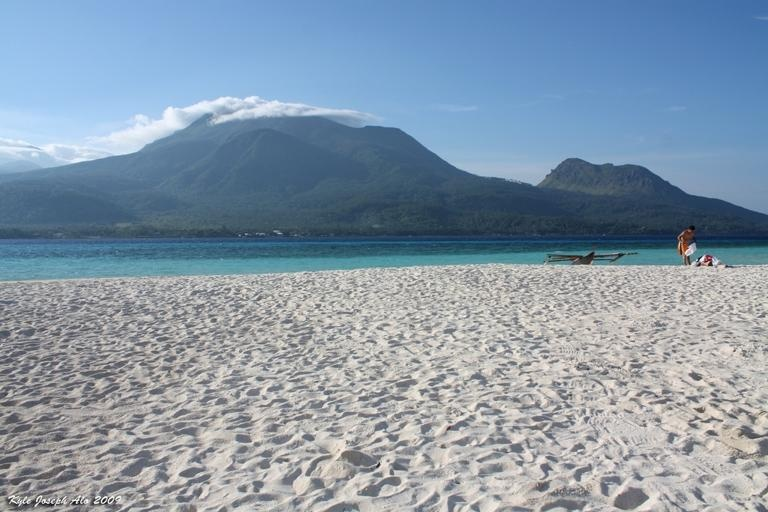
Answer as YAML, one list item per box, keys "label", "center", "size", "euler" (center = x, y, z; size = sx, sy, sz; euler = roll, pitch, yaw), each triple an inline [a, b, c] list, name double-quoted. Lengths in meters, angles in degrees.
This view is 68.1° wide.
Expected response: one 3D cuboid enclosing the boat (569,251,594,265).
- label: "boat"
  center: [9.597, 0.132, 27.592]
  size: [0.953, 0.566, 1.877]
  euler: [1, 9, 16]
